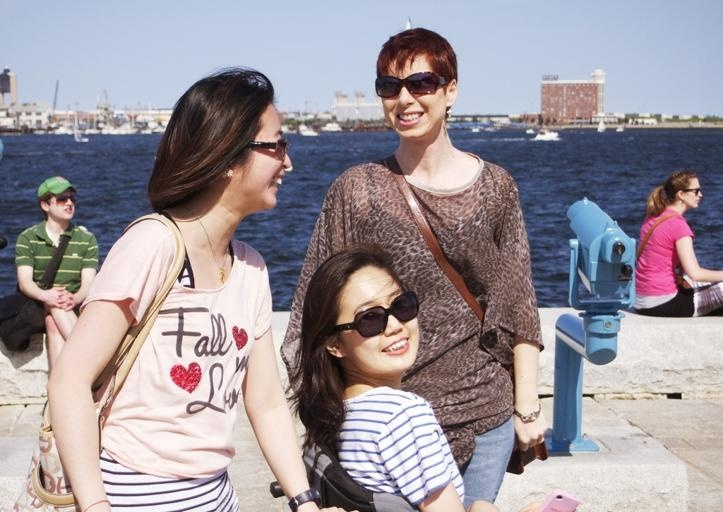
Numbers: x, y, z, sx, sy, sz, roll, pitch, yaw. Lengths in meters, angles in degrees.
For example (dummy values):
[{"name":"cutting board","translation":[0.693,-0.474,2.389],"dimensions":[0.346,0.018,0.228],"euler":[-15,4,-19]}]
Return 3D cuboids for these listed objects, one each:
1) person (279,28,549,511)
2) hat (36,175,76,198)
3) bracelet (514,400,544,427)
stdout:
[{"name":"person","translation":[0.295,0.572,6.266],"dimensions":[1.541,3.506,0.855],"euler":[-2,9,-1]},{"name":"hat","translation":[-2.564,-0.550,9.229],"dimensions":[0.271,0.148,0.207],"euler":[-23,-3,36]},{"name":"bracelet","translation":[0.895,0.851,6.116],"dimensions":[0.109,0.058,0.111],"euler":[-23,15,-23]}]
